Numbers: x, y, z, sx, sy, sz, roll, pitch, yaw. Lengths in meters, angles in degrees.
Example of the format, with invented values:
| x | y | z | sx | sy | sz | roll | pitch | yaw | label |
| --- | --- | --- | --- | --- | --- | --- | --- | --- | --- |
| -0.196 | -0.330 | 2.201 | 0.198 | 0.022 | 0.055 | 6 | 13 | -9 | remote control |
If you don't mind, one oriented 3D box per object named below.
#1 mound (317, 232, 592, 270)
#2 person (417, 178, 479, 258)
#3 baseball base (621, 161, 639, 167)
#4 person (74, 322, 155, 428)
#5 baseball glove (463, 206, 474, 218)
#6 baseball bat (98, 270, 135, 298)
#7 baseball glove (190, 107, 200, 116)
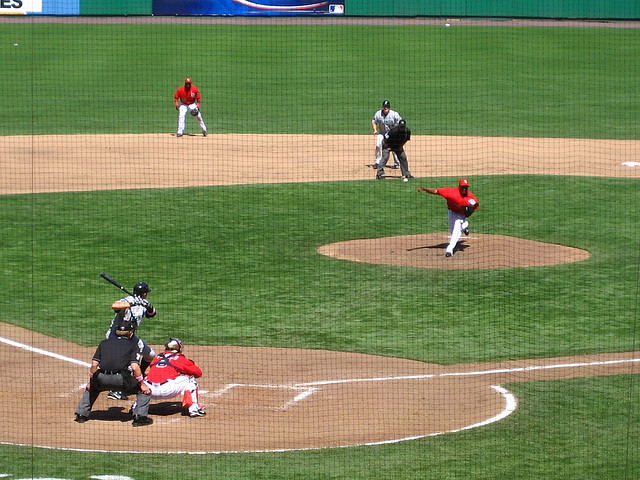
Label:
| x | y | z | sx | sy | sz | roll | pitch | yaw | label |
| --- | --- | --- | --- | --- | --- | --- | --- | --- | --- |
| 3.296 | 0.284 | 32.712 | 6.098 | 0.506 | 2.384 | 0 | 8 | 4 | mound |
| 3.088 | -0.567 | 31.506 | 1.384 | 1.781 | 1.154 | -11 | 28 | -27 | person |
| 9.697 | -2.345 | 41.653 | 0.499 | 0.084 | 0.704 | 1 | 8 | 12 | baseball base |
| -3.946 | 2.551 | 25.548 | 1.455 | 1.934 | 0.927 | -1 | 9 | -2 | person |
| 3.454 | -0.668 | 31.365 | 0.194 | 0.270 | 0.305 | -4 | 9 | -21 | baseball glove |
| -4.643 | 1.012 | 30.137 | 0.114 | 0.828 | 0.105 | -43 | 17 | 33 | baseball bat |
| -4.031 | -4.079 | 42.562 | 0.232 | 0.276 | 0.433 | -2 | 9 | -9 | baseball glove |
